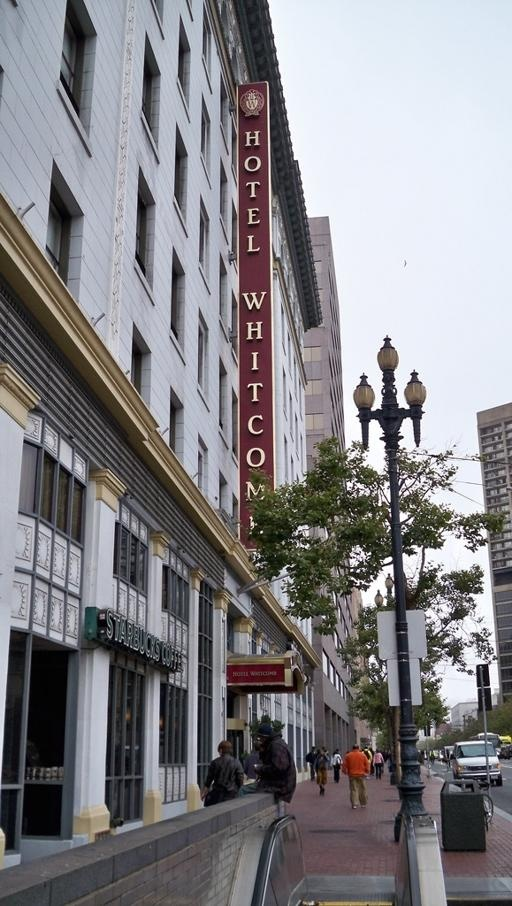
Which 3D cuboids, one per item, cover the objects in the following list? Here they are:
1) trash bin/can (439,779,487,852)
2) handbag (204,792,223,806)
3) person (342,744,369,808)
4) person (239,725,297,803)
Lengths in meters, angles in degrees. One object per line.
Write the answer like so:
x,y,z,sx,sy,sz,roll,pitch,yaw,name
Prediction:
3.824,6.804,12.185,0.762,1.389,0.896,2,-23,-5,trash bin/can
-0.801,6.313,12.055,0.178,0.238,0.606,2,-22,-21,handbag
3.296,10.581,21.775,0.673,2.178,0.641,-1,5,10,person
0.251,4.513,9.674,0.432,1.038,0.589,4,-16,-34,person
